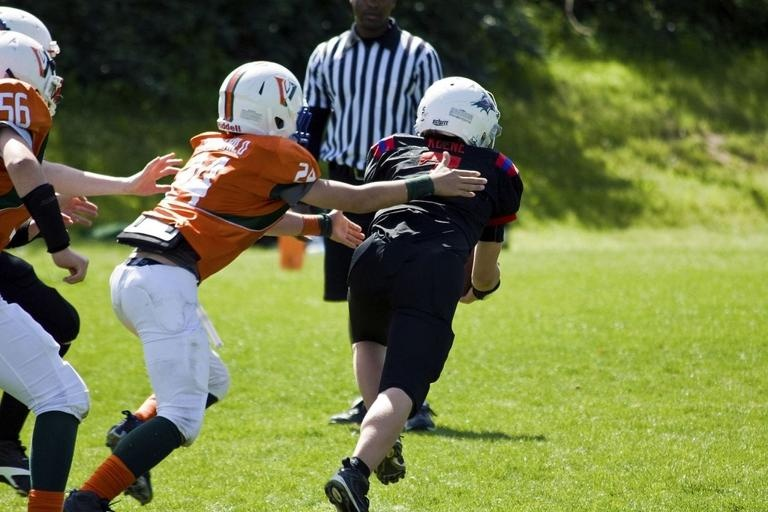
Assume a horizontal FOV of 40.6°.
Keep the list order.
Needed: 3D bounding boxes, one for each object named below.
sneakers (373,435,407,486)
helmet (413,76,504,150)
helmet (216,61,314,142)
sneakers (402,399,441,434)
[{"bbox_3d":[0.034,1.056,5.215,0.111,0.136,0.307,3,0,13],"label":"sneakers"},{"bbox_3d":[0.406,-0.751,5.648,0.427,0.426,0.578,12,14,18],"label":"helmet"},{"bbox_3d":[-0.618,-0.793,5.326,0.366,0.382,0.485,15,16,37],"label":"helmet"},{"bbox_3d":[0.209,0.967,6.179,0.189,0.107,0.281,-3,2,8],"label":"sneakers"}]
